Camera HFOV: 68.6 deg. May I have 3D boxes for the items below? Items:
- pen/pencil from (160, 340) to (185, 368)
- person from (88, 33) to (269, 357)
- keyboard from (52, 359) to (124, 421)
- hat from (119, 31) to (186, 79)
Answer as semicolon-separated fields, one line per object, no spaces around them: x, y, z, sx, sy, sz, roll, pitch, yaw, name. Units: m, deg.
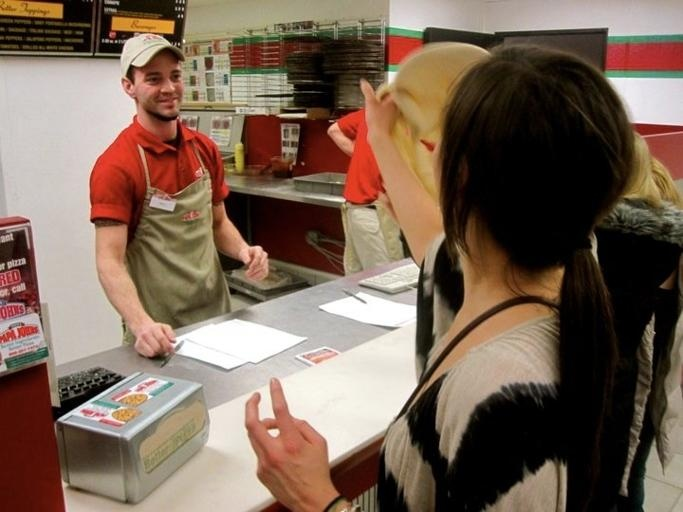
-0.588;0.342;1.762;0.021;0.013;0.156;-15;22;26;pen/pencil
-0.842;-0.309;2.235;0.491;1.316;0.909;6;18;17;person
-0.692;0.336;1.314;0.183;0.029;0.180;12;21;35;keyboard
-0.921;-0.968;2.376;0.246;0.169;0.322;-30;24;-34;hat
